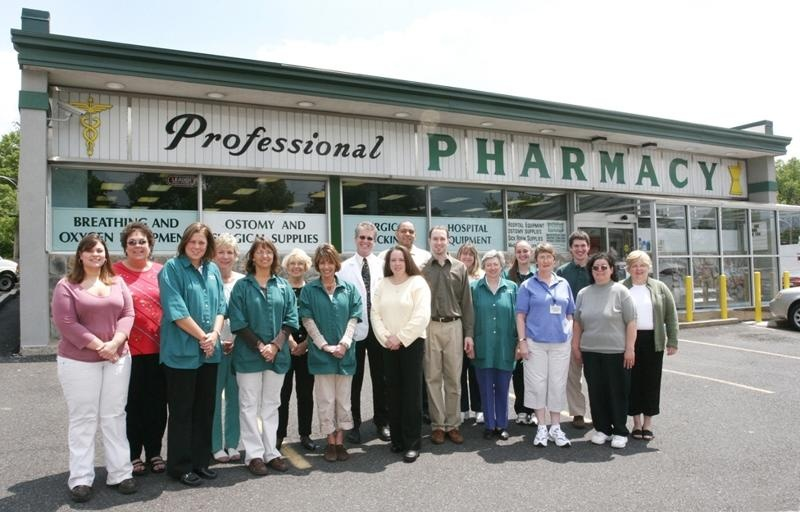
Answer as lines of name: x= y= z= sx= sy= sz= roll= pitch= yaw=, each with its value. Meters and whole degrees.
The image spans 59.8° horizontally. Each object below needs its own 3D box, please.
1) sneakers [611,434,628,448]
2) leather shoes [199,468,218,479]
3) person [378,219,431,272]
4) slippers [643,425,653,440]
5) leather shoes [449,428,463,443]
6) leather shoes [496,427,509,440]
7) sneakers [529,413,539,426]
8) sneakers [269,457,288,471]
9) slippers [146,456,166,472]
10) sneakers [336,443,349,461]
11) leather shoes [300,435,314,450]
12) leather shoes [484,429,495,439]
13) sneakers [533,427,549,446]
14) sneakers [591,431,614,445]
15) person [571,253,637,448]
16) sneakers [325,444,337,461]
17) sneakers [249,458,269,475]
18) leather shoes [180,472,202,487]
sneakers: x=3.322 y=2.778 z=10.491 sx=0.269 sy=0.163 sz=0.220 roll=1 pitch=13 yaw=5
leather shoes: x=-2.668 y=3.011 z=9.622 sx=0.267 sy=0.107 sz=0.109 roll=-10 pitch=-12 yaw=42
person: x=0.079 y=-0.187 z=11.442 sx=1.046 sy=0.796 sz=0.498 roll=3 pitch=-2 yaw=-6
slippers: x=3.821 y=2.727 z=10.704 sx=0.180 sy=0.133 sz=0.240 roll=4 pitch=14 yaw=18
leather shoes: x=0.864 y=2.741 z=10.712 sx=0.230 sy=0.157 sz=0.339 roll=-2 pitch=13 yaw=-9
leather shoes: x=1.564 y=2.737 z=10.736 sx=0.219 sy=0.134 sz=0.161 roll=7 pitch=15 yaw=26
sneakers: x=2.167 y=2.655 z=11.306 sx=0.166 sy=0.185 sz=0.075 roll=10 pitch=-4 yaw=-15
sneakers: x=-1.729 y=2.953 z=9.878 sx=0.129 sy=0.118 sz=0.308 roll=2 pitch=-6 yaw=-45
slippers: x=-3.460 y=2.923 z=9.774 sx=0.206 sy=0.108 sz=0.472 roll=0 pitch=-1 yaw=-18
sneakers: x=-0.860 y=2.851 z=10.164 sx=0.196 sy=0.194 sz=0.185 roll=-2 pitch=13 yaw=-8
leather shoes: x=-1.387 y=2.818 z=10.449 sx=0.111 sy=0.247 sz=0.122 roll=1 pitch=1 yaw=33
leather shoes: x=1.389 y=2.734 z=10.763 sx=0.190 sy=0.128 sz=0.126 roll=-1 pitch=13 yaw=-5
sneakers: x=2.145 y=2.707 z=10.566 sx=0.223 sy=0.257 sz=0.298 roll=3 pitch=13 yaw=11
sneakers: x=3.083 y=2.755 z=10.594 sx=0.342 sy=0.158 sz=0.190 roll=-1 pitch=13 yaw=-4
person: x=3.184 y=1.416 z=10.624 sx=0.842 sy=2.756 sz=1.118 roll=-1 pitch=13 yaw=-2
sneakers: x=-1.019 y=2.858 z=10.117 sx=0.171 sy=0.195 sz=0.178 roll=-1 pitch=13 yaw=-3
sneakers: x=-1.999 y=2.944 z=9.750 sx=0.259 sy=0.192 sz=0.177 roll=-3 pitch=14 yaw=-13
leather shoes: x=-2.861 y=3.043 z=9.472 sx=0.278 sy=0.102 sz=0.161 roll=-4 pitch=-5 yaw=44
